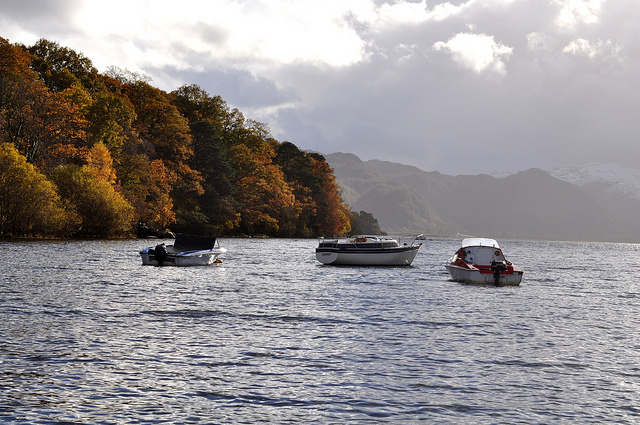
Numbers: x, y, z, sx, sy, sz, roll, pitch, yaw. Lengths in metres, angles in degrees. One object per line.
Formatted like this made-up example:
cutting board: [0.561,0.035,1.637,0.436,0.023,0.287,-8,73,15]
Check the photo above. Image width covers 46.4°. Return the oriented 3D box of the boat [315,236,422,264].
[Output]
boat: [5.384,4.185,80.014,10.826,3.050,4.432,-2,1,22]

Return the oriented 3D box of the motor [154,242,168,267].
motor: [-15.233,4.229,71.511,1.218,1.843,1.228,0,9,-11]

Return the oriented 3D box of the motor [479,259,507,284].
motor: [15.238,5.309,65.236,1.902,1.722,1.173,6,10,22]

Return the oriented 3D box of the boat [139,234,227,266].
boat: [-13.365,4.197,72.526,3.642,2.008,6.078,6,4,43]
